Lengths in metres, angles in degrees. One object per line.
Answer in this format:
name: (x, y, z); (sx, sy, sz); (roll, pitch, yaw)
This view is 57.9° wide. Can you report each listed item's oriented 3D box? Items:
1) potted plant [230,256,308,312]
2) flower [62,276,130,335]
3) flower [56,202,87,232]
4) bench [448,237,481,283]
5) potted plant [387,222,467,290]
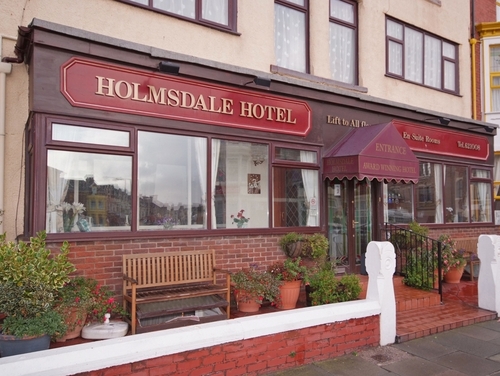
potted plant: (0.239, 1.741, 9.684); (1.457, 1.080, 1.003); (1, -8, -24)
flower: (-2.873, 2.357, 8.070); (0.907, 0.767, 1.196); (11, -28, -12)
flower: (-3.337, 0.499, 8.605); (0.433, 0.629, 0.594); (-2, -3, 11)
bench: (6.337, 2.076, 13.844); (0.574, 1.025, 1.501); (-15, -1, -18)
potted plant: (4.405, 1.722, 11.709); (1.765, 1.627, 2.608); (-3, -6, 24)
